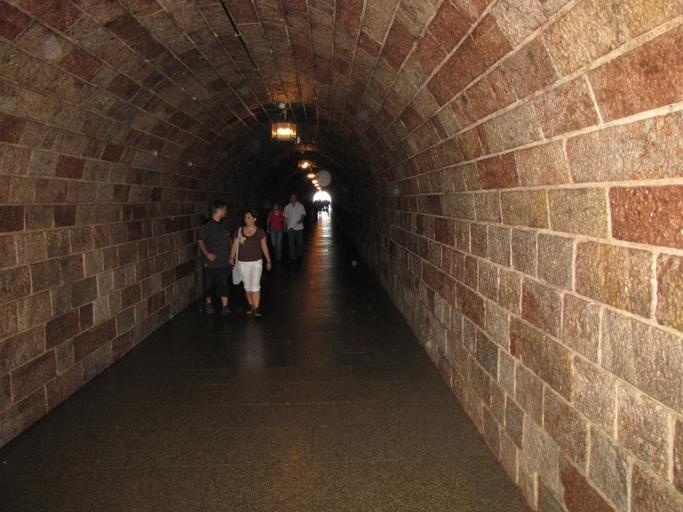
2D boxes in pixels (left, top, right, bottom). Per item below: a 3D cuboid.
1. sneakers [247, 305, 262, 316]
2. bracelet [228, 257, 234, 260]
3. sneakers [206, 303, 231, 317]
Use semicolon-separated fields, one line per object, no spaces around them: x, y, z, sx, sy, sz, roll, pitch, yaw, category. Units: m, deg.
-1.298;0.815;7.502;0.115;0.160;0.360;1;6;-15;sneakers
-1.625;0.024;7.471;0.057;0.019;0.060;-8;23;-43;bracelet
-1.907;0.813;7.629;0.473;0.217;0.169;-2;8;6;sneakers
